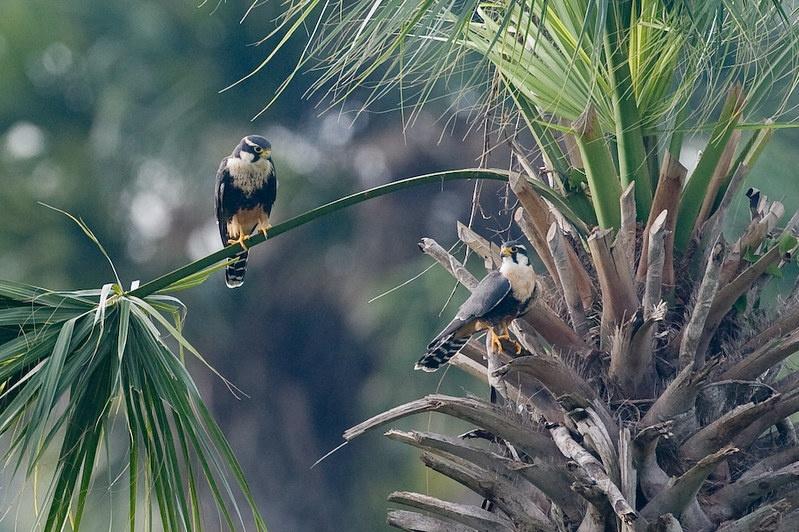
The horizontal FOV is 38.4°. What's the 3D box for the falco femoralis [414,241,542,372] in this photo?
[{"bbox_3d":[0.692,0.311,9.886,0.468,0.909,1.182,-3,-6,-43],"label":"falco femoralis"}]
